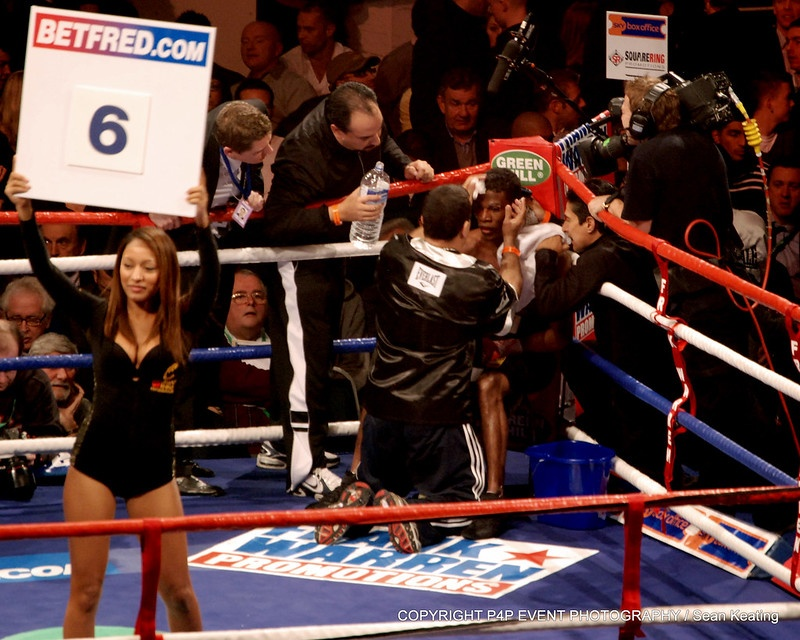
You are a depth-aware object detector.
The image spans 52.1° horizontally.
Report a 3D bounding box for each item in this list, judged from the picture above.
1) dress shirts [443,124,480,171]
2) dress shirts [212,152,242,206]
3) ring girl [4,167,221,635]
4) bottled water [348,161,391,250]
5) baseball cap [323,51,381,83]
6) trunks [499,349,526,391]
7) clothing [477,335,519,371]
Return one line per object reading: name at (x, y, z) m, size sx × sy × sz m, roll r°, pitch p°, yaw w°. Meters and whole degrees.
dress shirts at (0.495, -1.281, 6.131) m, size 0.246 × 0.335 × 0.392 m, roll -7°, pitch 18°, yaw -4°
dress shirts at (-0.821, -0.676, 3.950) m, size 0.150 × 0.196 × 0.117 m, roll 4°, pitch -1°, yaw -4°
ring girl at (-0.915, 0.328, 2.812) m, size 0.640 × 1.569 × 0.648 m, roll -1°, pitch 2°, yaw -39°
bottled water at (-0.137, -0.567, 3.926) m, size 0.141 × 0.400 × 0.135 m, roll -5°, pitch 32°, yaw -31°
baseball cap at (-0.354, -1.894, 6.074) m, size 0.319 × 0.108 × 0.220 m, roll -24°, pitch 5°, yaw 18°
trunks at (0.588, 0.262, 4.176) m, size 0.057 × 0.142 × 0.207 m, roll -19°, pitch -4°, yaw 15°
clothing at (0.482, 0.142, 4.094) m, size 0.205 × 0.178 × 0.119 m, roll 13°, pitch 31°, yaw -22°
